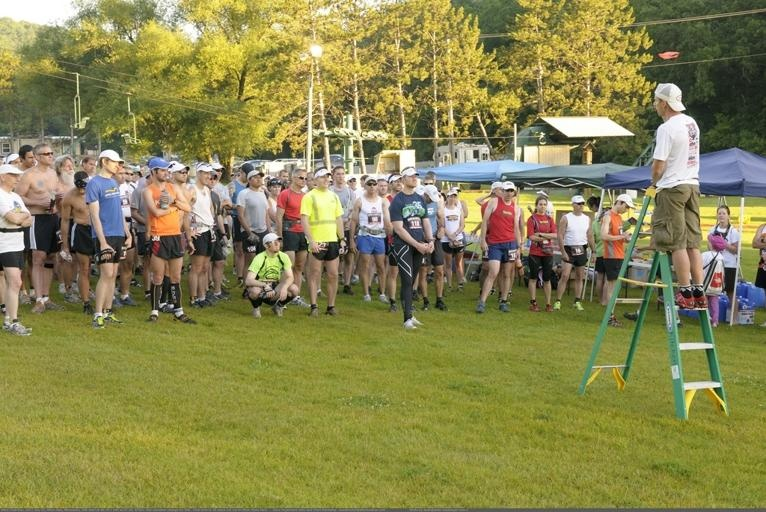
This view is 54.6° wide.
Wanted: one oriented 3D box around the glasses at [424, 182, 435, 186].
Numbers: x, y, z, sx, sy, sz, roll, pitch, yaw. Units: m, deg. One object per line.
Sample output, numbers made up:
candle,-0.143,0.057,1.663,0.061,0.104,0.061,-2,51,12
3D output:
glasses,1.040,-1.604,16.673,0.231,0.105,0.293,-1,-3,0

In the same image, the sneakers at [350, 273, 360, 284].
sneakers,-0.677,0.567,18.075,0.146,0.204,0.209,7,-8,-24

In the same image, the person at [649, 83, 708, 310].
person,3.846,-0.759,9.643,0.850,2.851,0.555,6,10,16

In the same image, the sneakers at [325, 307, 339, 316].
sneakers,-0.974,1.045,14.153,0.229,0.148,0.129,0,3,29

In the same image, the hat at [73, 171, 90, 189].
hat,-5.121,-1.275,12.624,0.290,0.278,0.374,-6,15,-30

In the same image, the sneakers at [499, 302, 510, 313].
sneakers,2.520,1.074,15.403,0.126,0.138,0.360,-2,-4,3

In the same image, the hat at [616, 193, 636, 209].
hat,5.014,-1.103,15.135,0.465,0.248,0.330,4,11,-2

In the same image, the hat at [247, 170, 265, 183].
hat,-2.624,-1.612,15.267,0.275,0.281,0.309,1,11,-10

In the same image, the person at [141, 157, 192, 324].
person,-3.770,-0.282,13.012,0.738,2.820,0.934,0,10,-15

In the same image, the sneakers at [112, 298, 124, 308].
sneakers,-5.063,0.901,14.139,0.110,0.122,0.319,-1,4,-42

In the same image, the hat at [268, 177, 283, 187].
hat,-2.312,-1.579,16.002,0.308,0.161,0.428,1,3,-17

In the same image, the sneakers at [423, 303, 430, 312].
sneakers,0.878,1.054,15.075,0.112,0.131,0.321,-2,-7,13

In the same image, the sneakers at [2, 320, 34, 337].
sneakers,-5.803,1.112,11.737,0.610,0.226,0.201,8,18,18

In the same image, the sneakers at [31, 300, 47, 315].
sneakers,-6.072,0.893,13.107,0.213,0.200,0.356,-2,11,-22

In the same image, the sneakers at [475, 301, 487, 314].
sneakers,1.997,1.060,15.154,0.175,0.202,0.491,-2,-7,9

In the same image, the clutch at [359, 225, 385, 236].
clutch,-0.271,-0.517,15.787,0.270,0.161,0.340,6,-4,-44

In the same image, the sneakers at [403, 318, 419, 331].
sneakers,0.482,1.213,13.171,0.149,0.219,0.229,-15,-20,43

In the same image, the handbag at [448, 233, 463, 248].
handbag,1.668,-0.335,16.719,0.203,0.337,0.640,6,11,19

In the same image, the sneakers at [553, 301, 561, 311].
sneakers,3.673,1.055,15.633,0.099,0.116,0.263,3,9,7

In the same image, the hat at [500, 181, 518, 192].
hat,2.550,-1.392,15.088,0.224,0.125,0.336,2,7,1

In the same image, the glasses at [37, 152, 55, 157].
glasses,-5.892,-1.744,12.949,0.207,0.112,0.317,-4,12,-31

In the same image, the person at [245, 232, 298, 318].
person,-2.057,0.359,13.915,0.997,1.510,0.606,-2,11,-21

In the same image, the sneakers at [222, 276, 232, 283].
sneakers,-3.745,0.582,17.794,0.101,0.204,0.302,-6,6,-43

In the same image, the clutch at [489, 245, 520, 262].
clutch,2.450,-0.041,15.071,0.600,0.405,0.234,1,10,-8

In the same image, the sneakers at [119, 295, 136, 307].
sneakers,-4.854,0.861,14.229,0.427,0.170,0.153,5,10,22

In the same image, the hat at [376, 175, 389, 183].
hat,-0.015,-1.704,16.185,0.235,0.112,0.297,0,1,3

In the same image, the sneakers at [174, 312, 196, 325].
sneakers,-3.428,1.095,12.933,0.403,0.176,0.165,3,6,7

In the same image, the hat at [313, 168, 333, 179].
hat,-1.144,-1.554,14.061,0.250,0.131,0.378,0,0,-16

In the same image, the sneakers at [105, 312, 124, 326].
sneakers,-4.593,1.048,12.508,0.406,0.231,0.132,1,7,-5

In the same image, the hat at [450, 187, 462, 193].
hat,1.654,-1.524,17.112,0.165,0.090,0.260,-6,0,-6

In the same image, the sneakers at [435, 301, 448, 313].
sneakers,1.208,1.034,15.242,0.218,0.202,0.136,-1,-1,41

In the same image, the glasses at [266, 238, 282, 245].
glasses,-2.063,-0.241,13.761,0.167,0.051,0.116,-15,-1,26

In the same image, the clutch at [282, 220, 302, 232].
clutch,-1.706,-0.560,14.054,0.295,0.177,0.216,8,0,-3

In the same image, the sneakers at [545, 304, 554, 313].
sneakers,3.463,1.092,15.473,0.124,0.064,0.157,-6,15,-5

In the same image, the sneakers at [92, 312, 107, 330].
sneakers,-4.641,1.056,12.163,0.170,0.227,0.241,-2,11,-25

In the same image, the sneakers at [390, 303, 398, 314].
sneakers,0.206,1.050,14.651,0.165,0.194,0.458,2,5,2

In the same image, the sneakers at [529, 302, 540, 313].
sneakers,3.160,1.056,15.499,0.137,0.204,0.216,-4,1,44

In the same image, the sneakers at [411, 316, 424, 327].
sneakers,0.613,1.198,13.411,0.134,0.088,0.202,-9,-44,34

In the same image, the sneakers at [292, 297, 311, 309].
sneakers,-1.642,0.962,15.174,0.505,0.217,0.169,0,4,31

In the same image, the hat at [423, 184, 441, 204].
hat,1.024,-1.289,15.588,0.333,0.326,1.218,4,11,8

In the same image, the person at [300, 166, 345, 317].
person,-1.153,-0.229,14.091,0.809,2.740,1.174,2,10,-1

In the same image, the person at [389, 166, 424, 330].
person,0.457,-0.147,13.452,0.738,2.848,1.139,3,10,1

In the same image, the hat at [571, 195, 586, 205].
hat,4.112,-1.164,15.688,0.231,0.140,0.302,-4,8,-18

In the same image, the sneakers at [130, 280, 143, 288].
sneakers,-5.534,0.645,16.742,0.416,0.168,0.142,1,5,35

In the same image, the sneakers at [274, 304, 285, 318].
sneakers,-1.930,1.054,14.075,0.205,0.281,0.234,-8,-2,25

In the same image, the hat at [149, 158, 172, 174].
hat,-3.835,-1.525,12.607,0.410,0.210,0.281,-4,8,3

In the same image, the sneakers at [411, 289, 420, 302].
sneakers,0.766,0.863,16.451,0.130,0.243,0.264,5,9,30

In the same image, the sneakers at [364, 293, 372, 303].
sneakers,-0.322,0.911,15.790,0.167,0.152,0.376,-1,0,-12

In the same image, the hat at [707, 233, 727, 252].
hat,6.619,-0.254,14.715,0.269,0.172,0.341,2,11,-27

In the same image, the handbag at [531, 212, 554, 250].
handbag,3.320,-0.463,15.609,0.539,0.786,0.535,5,10,11
